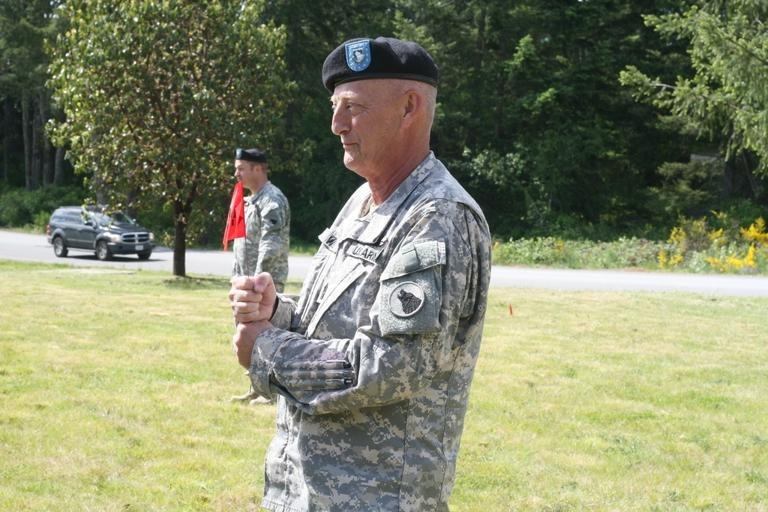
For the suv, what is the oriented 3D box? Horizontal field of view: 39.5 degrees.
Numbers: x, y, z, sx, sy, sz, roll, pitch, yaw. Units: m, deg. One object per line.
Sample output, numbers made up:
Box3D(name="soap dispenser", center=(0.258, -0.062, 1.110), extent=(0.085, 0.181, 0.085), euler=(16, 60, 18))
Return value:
Box3D(name="suv", center=(-12.117, -1.019, 44.650), extent=(4.140, 1.916, 2.083), euler=(5, 4, 39))
